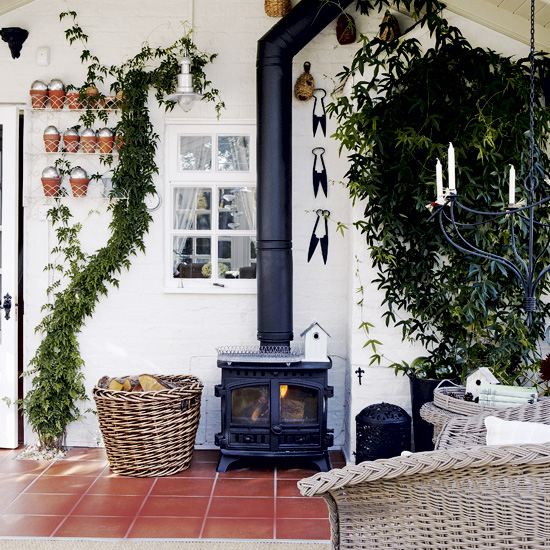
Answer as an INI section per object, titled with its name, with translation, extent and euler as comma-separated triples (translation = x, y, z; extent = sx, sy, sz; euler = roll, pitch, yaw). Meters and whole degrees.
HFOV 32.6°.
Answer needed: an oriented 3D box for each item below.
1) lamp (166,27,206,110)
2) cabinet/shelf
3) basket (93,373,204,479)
[lamp]
translation = -0.568, -1.213, 5.929
extent = 0.246, 0.346, 0.234
euler = 1, 12, 0
[cabinet/shelf]
translation = -1.281, -0.832, 6.203
extent = 0.805, 0.905, 0.226
euler = 0, 3, -1
[basket]
translation = -0.828, 0.949, 5.925
extent = 0.705, 0.548, 0.750
euler = 0, -4, -26
